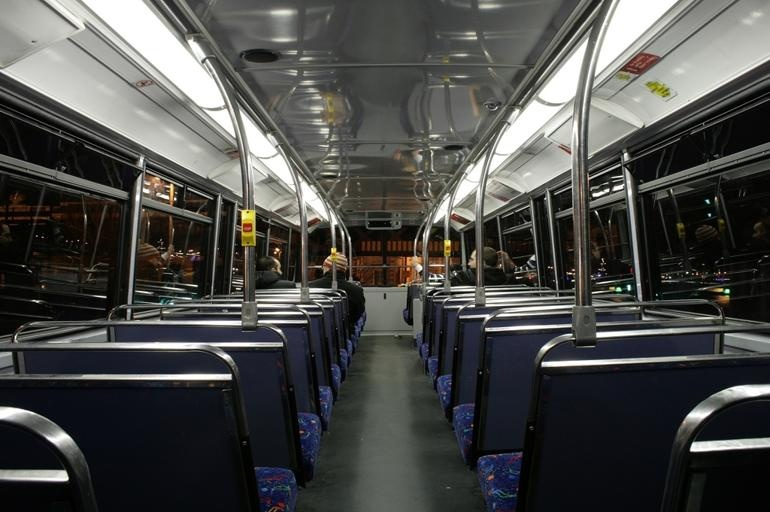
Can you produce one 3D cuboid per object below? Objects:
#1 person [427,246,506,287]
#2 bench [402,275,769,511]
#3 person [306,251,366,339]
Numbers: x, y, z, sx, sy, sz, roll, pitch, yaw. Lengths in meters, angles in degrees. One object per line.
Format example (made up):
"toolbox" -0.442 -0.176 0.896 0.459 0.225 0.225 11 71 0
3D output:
"person" 1.564 0.152 7.400 0.518 0.529 1.575 21 17 40
"bench" 1.238 0.894 2.777 1.387 1.153 1.586 1 1 0
"person" -1.071 0.627 8.053 0.872 1.355 1.081 24 -2 -32
